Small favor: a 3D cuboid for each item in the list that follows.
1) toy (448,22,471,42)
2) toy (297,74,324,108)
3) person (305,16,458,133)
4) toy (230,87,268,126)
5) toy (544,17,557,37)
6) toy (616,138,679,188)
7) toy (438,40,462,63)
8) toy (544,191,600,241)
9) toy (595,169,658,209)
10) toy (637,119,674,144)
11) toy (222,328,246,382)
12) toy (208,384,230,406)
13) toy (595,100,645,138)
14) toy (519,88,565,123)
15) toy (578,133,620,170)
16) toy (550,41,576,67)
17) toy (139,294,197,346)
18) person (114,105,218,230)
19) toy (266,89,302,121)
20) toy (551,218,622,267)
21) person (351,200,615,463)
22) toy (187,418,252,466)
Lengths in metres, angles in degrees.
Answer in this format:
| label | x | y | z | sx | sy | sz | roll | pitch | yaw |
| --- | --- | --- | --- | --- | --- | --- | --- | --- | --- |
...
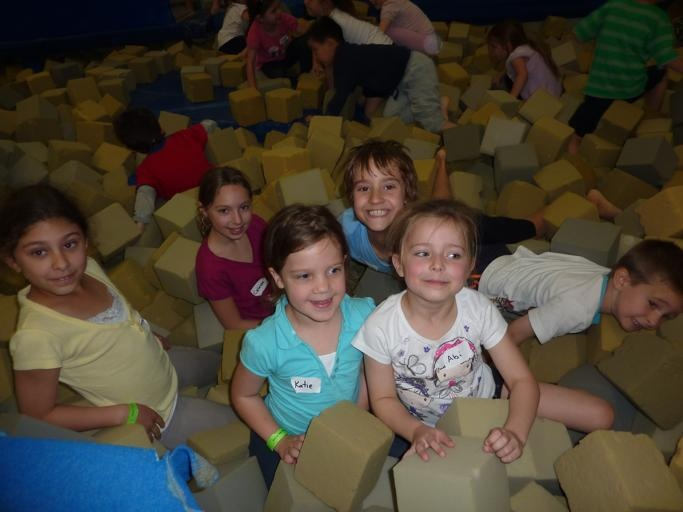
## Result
| label | x | y | z | sx | sy | sz | roll | pitch | yaw |
| --- | --- | --- | --- | --- | --- | --- | --- | --- | --- |
| toy | 1.214 | -2.328 | 5.324 | 0.187 | 0.216 | 0.050 | 8 | -13 | 7 |
| toy | -0.258 | -1.376 | 4.307 | 0.176 | 0.248 | 0.343 | 7 | 48 | 7 |
| person | 0.376 | -1.449 | 4.124 | 1.333 | 0.870 | 0.566 | 13 | 44 | 17 |
| toy | -0.735 | -1.176 | 4.083 | 0.280 | 0.283 | 0.186 | -5 | 24 | -9 |
| toy | 2.117 | -2.343 | 5.233 | 0.156 | 0.163 | 0.039 | 16 | 15 | 43 |
| toy | 1.950 | -0.605 | 3.275 | 0.346 | 0.306 | 0.256 | 11 | 26 | 25 |
| toy | 1.046 | -1.983 | 4.946 | 0.194 | 0.216 | 0.132 | 4 | -4 | 4 |
| toy | 1.303 | -0.265 | 3.000 | 0.261 | 0.241 | 0.258 | -41 | 38 | -3 |
| toy | 1.909 | -0.470 | 3.418 | 0.375 | 0.121 | 0.515 | 3 | -7 | 21 |
| toy | 2.141 | -0.851 | 3.514 | 0.183 | 0.136 | 0.197 | 9 | 58 | 18 |
| toy | -0.532 | 0.477 | 2.478 | 0.050 | 0.211 | 0.214 | 13 | -12 | -30 |
| toy | -0.573 | 0.649 | 2.418 | 0.081 | 0.034 | 0.090 | 6 | 50 | 6 |
| toy | 2.009 | -0.988 | 3.720 | 0.243 | 0.233 | 0.231 | -21 | 30 | -38 |
| toy | 1.483 | -1.103 | 3.809 | 0.272 | 0.280 | 0.073 | 35 | -7 | 16 |
| toy | 1.780 | -0.718 | 3.556 | 0.259 | 0.209 | 0.144 | 12 | 26 | 26 |
| toy | 2.066 | -1.886 | 4.781 | 0.223 | 0.234 | 0.057 | -16 | 0 | 12 |
| toy | -0.938 | 0.359 | 2.876 | 0.280 | 0.240 | 0.283 | 26 | 65 | -6 |
| person | -1.173 | -0.568 | 3.398 | 0.328 | 0.746 | 0.963 | 9 | 3 | 24 |
| toy | -0.451 | -1.184 | 4.079 | 0.282 | 0.246 | 0.181 | -5 | 24 | -10 |
| toy | 1.290 | -0.098 | 2.727 | 0.269 | 0.177 | 0.284 | 16 | 58 | 24 |
| person | 0.363 | 0.309 | 1.867 | 0.934 | 0.974 | 0.538 | -16 | 11 | -12 |
| toy | -0.483 | 0.737 | 2.039 | 0.120 | 0.086 | 0.168 | 33 | 28 | 28 |
